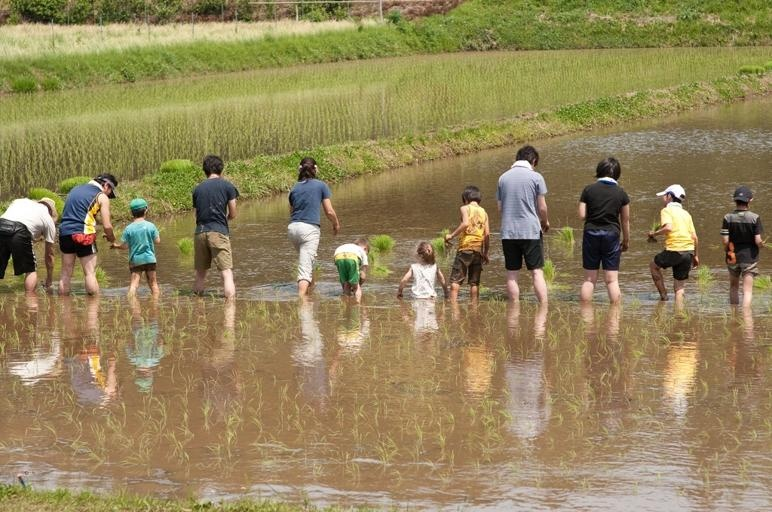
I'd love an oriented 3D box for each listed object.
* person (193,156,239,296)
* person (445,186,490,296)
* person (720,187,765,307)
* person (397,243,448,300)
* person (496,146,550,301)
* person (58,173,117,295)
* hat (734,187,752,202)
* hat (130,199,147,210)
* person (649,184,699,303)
[{"bbox_3d":[-3.284,-0.546,24.843,0.963,2.723,0.573,-3,10,3],"label":"person"},{"bbox_3d":[1.525,-0.268,24.916,0.828,2.151,0.785,-5,10,-10],"label":"person"},{"bbox_3d":[6.616,-0.192,24.375,0.620,2.135,0.708,-11,13,-37],"label":"person"},{"bbox_3d":[0.712,0.333,25.597,0.882,1.449,0.439,5,47,3],"label":"person"},{"bbox_3d":[2.535,-0.561,24.299,0.897,2.930,0.469,-2,10,6],"label":"person"},{"bbox_3d":[-5.760,-0.409,25.091,1.207,2.270,0.779,-1,10,11],"label":"person"},{"bbox_3d":[6.695,-1.169,24.551,0.288,0.251,0.442,1,1,16],"label":"hat"},{"bbox_3d":[-4.752,-1.006,24.974,0.254,0.204,0.281,-3,11,3],"label":"hat"},{"bbox_3d":[5.398,-0.264,24.641,0.779,2.095,0.910,3,12,32],"label":"person"}]
